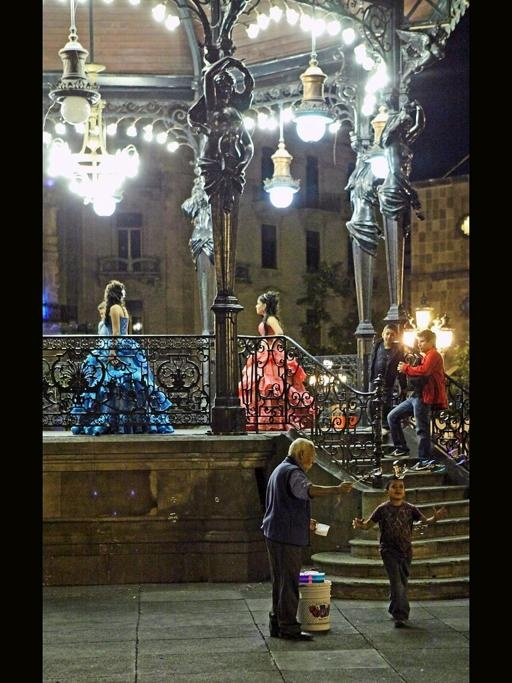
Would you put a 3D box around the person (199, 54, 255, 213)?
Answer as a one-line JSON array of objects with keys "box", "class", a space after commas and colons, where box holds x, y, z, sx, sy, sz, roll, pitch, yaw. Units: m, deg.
[{"box": [-0.288, -2.047, 14.602, 0.546, 1.500, 0.504, -3, 7, -11], "class": "person"}]

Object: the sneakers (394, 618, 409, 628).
[{"box": [1.134, 2.232, 11.642, 0.047, 0.061, 0.132, 3, 1, 16], "class": "sneakers"}]

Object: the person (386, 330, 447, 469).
[{"box": [1.661, 0.594, 15.011, 0.549, 1.378, 0.716, -3, 7, -12], "class": "person"}]

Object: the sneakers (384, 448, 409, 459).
[{"box": [1.442, 1.163, 15.227, 0.249, 0.100, 0.100, 2, -5, -11], "class": "sneakers"}]

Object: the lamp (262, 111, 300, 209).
[{"box": [0.312, -2.344, 18.435, 0.439, 1.321, 0.435, 0, 0, -25], "class": "lamp"}]

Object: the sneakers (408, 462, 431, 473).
[{"box": [1.650, 1.275, 14.831, 0.195, 0.078, 0.091, 2, -10, -2], "class": "sneakers"}]

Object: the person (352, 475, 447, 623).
[{"box": [1.140, 1.700, 12.069, 0.645, 1.104, 0.828, 2, 7, 27], "class": "person"}]

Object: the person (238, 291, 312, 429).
[{"box": [0.200, 0.449, 15.427, 0.766, 1.102, 1.822, -1, 6, 0], "class": "person"}]

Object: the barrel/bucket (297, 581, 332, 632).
[{"box": [0.454, 2.099, 11.657, 0.317, 0.345, 0.313, -1, -6, 0], "class": "barrel/bucket"}]

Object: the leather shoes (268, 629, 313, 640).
[{"box": [0.257, 2.227, 11.223, 0.297, 0.078, 0.107, -2, -6, 15], "class": "leather shoes"}]

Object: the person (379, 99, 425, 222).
[{"box": [1.556, -1.966, 16.037, 0.499, 1.276, 0.526, 0, 7, 13], "class": "person"}]

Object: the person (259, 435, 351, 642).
[{"box": [0.290, 1.526, 11.310, 0.723, 1.493, 0.446, 5, 10, 44], "class": "person"}]
